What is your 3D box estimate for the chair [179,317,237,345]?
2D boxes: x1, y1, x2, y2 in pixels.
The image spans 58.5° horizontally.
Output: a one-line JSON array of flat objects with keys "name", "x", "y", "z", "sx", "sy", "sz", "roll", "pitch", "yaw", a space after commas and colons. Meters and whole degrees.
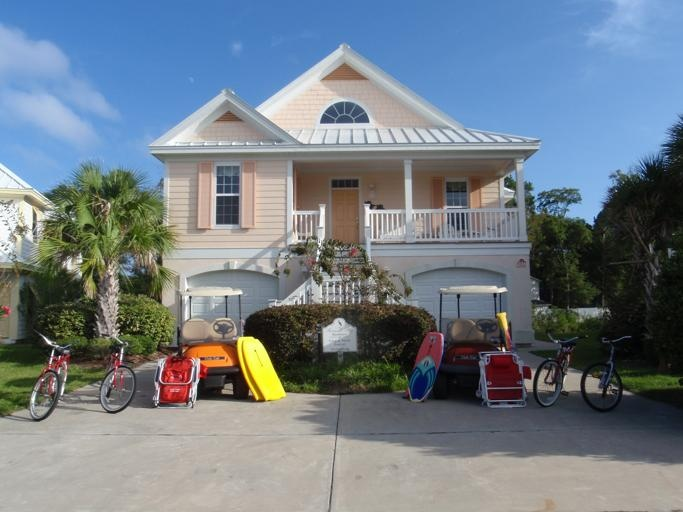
[{"name": "chair", "x": -3.108, "y": 1.681, "z": 13.843, "sx": 1.066, "sy": 0.605, "sz": 0.463, "roll": 2, "pitch": -3, "yaw": -37}]

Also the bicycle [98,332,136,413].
[{"name": "bicycle", "x": -4.468, "y": 2.385, "z": 12.189, "sx": 0.665, "sy": 1.371, "sz": 0.951, "roll": -3, "pitch": 7, "yaw": -23}]

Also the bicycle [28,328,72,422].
[{"name": "bicycle", "x": -5.707, "y": 2.299, "z": 11.978, "sx": 0.708, "sy": 1.526, "sz": 1.540, "roll": -3, "pitch": 7, "yaw": -21}]

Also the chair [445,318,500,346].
[{"name": "chair", "x": 2.858, "y": 1.651, "z": 13.333, "sx": 1.142, "sy": 0.502, "sz": 0.707, "roll": 1, "pitch": 7, "yaw": 8}]
